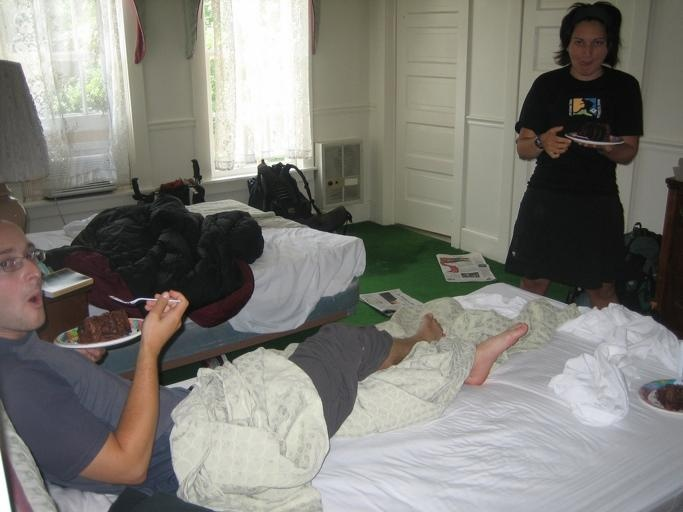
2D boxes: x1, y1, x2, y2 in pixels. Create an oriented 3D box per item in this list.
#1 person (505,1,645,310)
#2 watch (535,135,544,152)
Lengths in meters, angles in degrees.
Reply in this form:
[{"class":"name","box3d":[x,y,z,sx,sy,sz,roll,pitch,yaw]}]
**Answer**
[{"class":"person","box3d":[1.277,-0.502,2.742,0.657,1.683,0.401,8,21,31]},{"class":"watch","box3d":[1.099,-0.627,2.711,0.034,0.071,0.060,-18,-7,-2]}]
